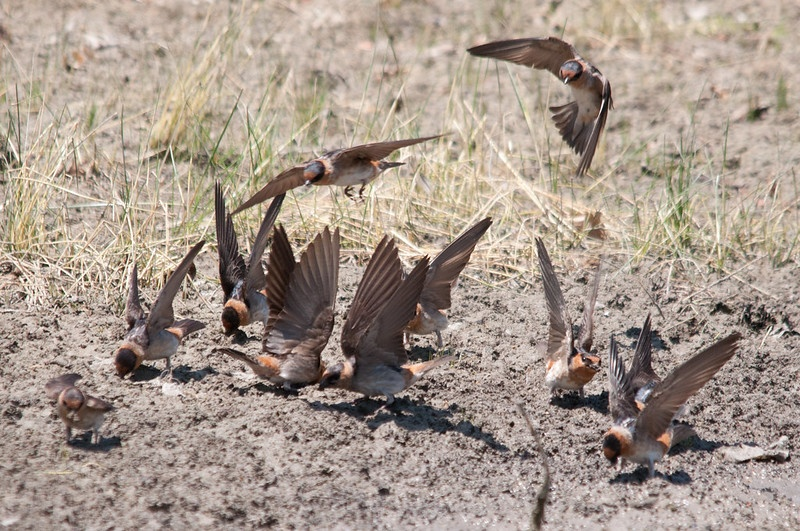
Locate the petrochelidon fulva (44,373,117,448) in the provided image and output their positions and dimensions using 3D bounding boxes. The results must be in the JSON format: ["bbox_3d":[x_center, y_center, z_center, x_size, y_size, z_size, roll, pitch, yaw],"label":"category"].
[{"bbox_3d":[-2.786,1.192,8.311,0.431,0.384,0.675,4,39,-9],"label":"petrochelidon fulva"}]

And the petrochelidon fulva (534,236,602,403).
[{"bbox_3d":[1.566,0.480,8.811,0.750,1.364,0.945,6,33,4],"label":"petrochelidon fulva"}]

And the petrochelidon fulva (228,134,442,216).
[{"bbox_3d":[-0.701,-0.922,9.407,1.368,0.929,0.707,-1,33,-8],"label":"petrochelidon fulva"}]

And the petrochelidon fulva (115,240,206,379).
[{"bbox_3d":[-2.322,0.480,9.226,1.055,0.881,0.826,6,26,31],"label":"petrochelidon fulva"}]
